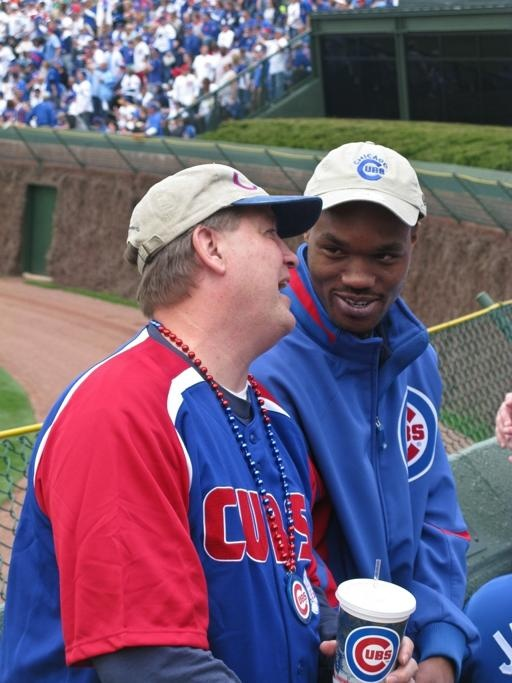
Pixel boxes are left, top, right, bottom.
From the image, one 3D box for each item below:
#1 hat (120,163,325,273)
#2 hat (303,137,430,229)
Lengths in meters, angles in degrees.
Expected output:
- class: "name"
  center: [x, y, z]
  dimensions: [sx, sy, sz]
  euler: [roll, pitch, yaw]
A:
- class: "hat"
  center: [-0.067, -0.231, 2.005]
  dimensions: [0.333, 0.173, 0.219]
  euler: [-21, -8, 6]
- class: "hat"
  center: [0.220, -0.319, 2.362]
  dimensions: [0.260, 0.197, 0.345]
  euler: [3, 0, 17]
